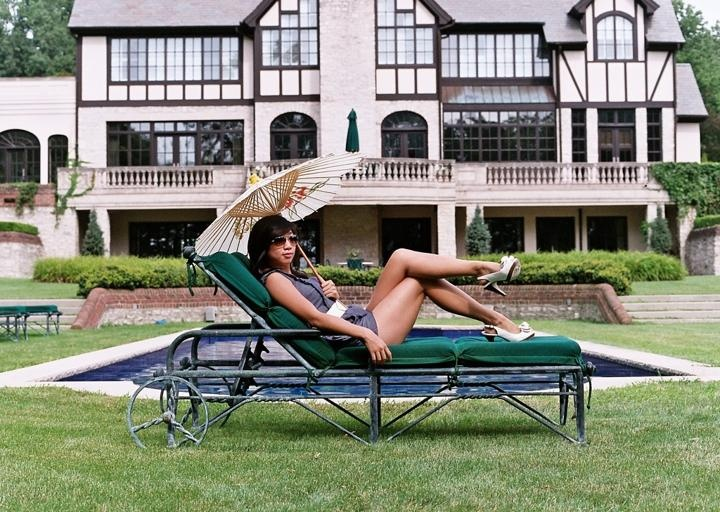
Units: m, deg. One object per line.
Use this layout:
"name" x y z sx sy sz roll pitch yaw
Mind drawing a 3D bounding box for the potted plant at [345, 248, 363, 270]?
"potted plant" -0.330 0.073 68.026 0.768 1.263 0.912 -1 1 -1
